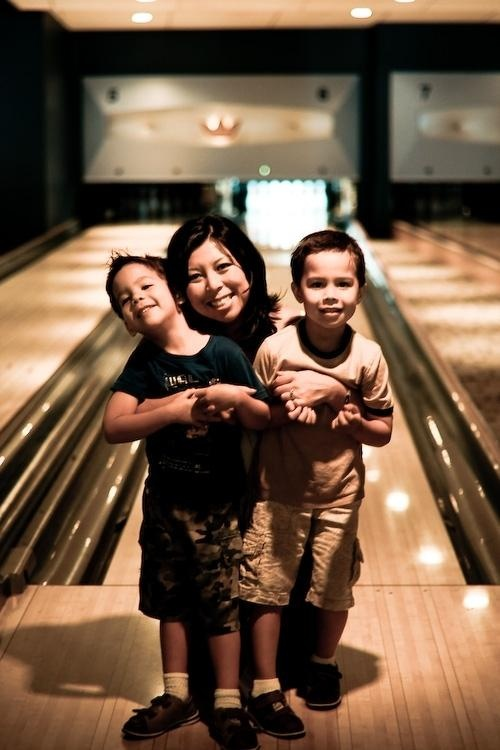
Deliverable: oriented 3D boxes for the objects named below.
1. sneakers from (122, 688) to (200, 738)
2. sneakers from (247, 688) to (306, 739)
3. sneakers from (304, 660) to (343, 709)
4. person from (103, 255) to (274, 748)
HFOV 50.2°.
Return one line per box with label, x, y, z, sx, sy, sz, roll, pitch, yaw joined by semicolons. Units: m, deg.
sneakers;-0.151;0.572;0.939;0.138;0.058;0.049;-4;7;-27
sneakers;0.038;0.589;0.936;0.054;0.056;0.145;14;-17;-28
sneakers;0.140;0.617;1.040;0.067;0.056;0.147;-14;-27;9
person;-0.117;0.226;0.950;0.280;0.815;0.482;-2;21;-2
